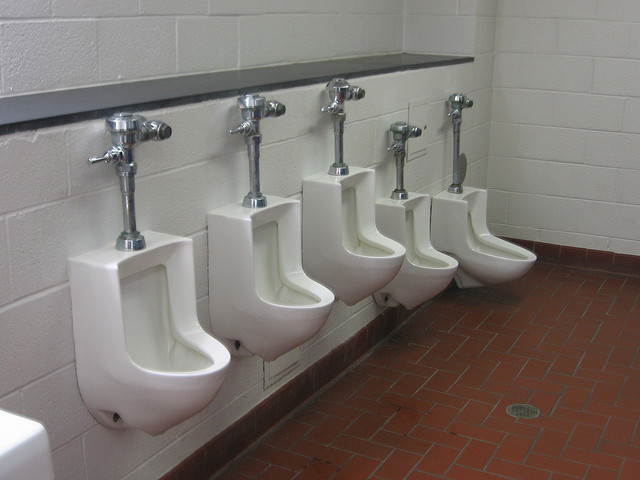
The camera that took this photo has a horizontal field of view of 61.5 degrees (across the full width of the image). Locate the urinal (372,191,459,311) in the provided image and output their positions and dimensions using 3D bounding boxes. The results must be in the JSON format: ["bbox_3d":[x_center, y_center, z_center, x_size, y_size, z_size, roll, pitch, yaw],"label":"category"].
[{"bbox_3d":[0.480,0.054,2.814,0.496,0.609,0.460,14,20,39],"label":"urinal"}]

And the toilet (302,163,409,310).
[{"bbox_3d":[0.176,-0.019,2.394,0.428,0.529,0.354,7,21,15],"label":"toilet"}]

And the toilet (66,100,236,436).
[{"bbox_3d":[-0.438,0.141,1.561,0.393,1.027,0.420,5,22,19],"label":"toilet"}]

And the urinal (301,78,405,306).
[{"bbox_3d":[0.169,-0.163,2.337,0.495,0.970,0.423,19,23,41],"label":"urinal"}]

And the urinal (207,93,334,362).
[{"bbox_3d":[-0.095,-0.015,1.956,0.447,0.993,0.443,21,25,38],"label":"urinal"}]

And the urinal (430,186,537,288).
[{"bbox_3d":[1.024,0.013,3.259,0.602,0.604,0.401,7,20,29],"label":"urinal"}]

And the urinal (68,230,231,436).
[{"bbox_3d":[-0.447,0.285,1.566,0.387,0.544,0.322,5,22,19],"label":"urinal"}]
